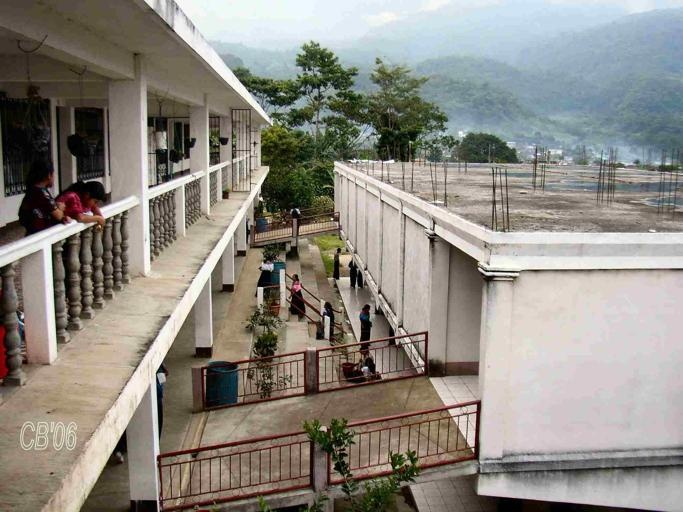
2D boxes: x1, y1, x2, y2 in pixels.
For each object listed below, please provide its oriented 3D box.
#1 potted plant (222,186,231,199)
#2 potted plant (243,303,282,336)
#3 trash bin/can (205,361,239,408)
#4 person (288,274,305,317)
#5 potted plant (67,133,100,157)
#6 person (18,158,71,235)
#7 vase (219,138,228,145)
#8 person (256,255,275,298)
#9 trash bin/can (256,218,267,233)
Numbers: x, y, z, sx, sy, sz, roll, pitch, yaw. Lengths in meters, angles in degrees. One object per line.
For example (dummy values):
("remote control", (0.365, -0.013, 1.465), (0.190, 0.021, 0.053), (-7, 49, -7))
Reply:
("potted plant", (-3.517, -1.865, 18.590), (0.373, 0.401, 0.321), (0, 1, -7))
("potted plant", (-2.126, 1.755, 16.567), (0.758, 0.930, 0.923), (-3, 8, 6))
("trash bin/can", (-2.241, 2.467, 11.880), (0.773, 0.850, 0.768), (2, 2, -14))
("person", (-1.457, 1.271, 20.057), (0.502, 1.221, 1.638), (-1, 8, -4))
("potted plant", (-4.130, -1.734, 9.713), (0.377, 0.345, 1.536), (-4, 9, -24))
("person", (-3.362, -0.646, 6.890), (0.411, 0.823, 0.738), (-7, 10, -37))
("vase", (-3.745, -3.587, 19.414), (0.221, 0.165, 0.229), (-1, 5, -7))
("person", (-2.624, 0.682, 21.226), (0.447, 1.433, 0.441), (2, 34, -9))
("trash bin/can", (-3.989, -1.455, 30.090), (0.637, 0.688, 0.622), (-7, 14, -44))
